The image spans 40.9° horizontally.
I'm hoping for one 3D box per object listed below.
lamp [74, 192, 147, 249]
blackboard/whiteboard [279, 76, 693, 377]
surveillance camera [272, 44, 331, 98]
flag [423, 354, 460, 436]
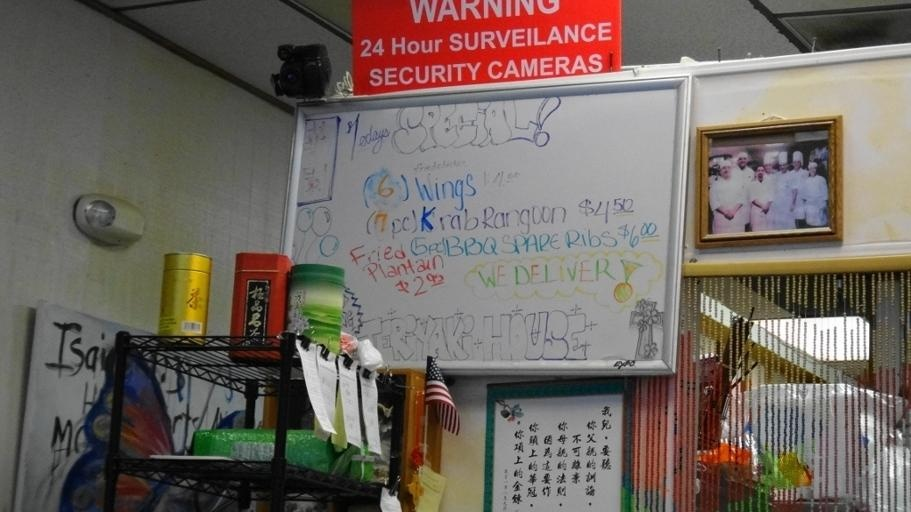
[{"bbox_3d":[-2.253,-0.230,7.963,0.097,0.325,0.453,-7,-13,42],"label":"lamp"},{"bbox_3d":[0.195,-0.189,6.661,2.010,1.617,0.081,0,-10,10],"label":"blackboard/whiteboard"},{"bbox_3d":[-0.875,-1.053,6.992,0.362,0.277,0.379,0,0,14],"label":"surveillance camera"},{"bbox_3d":[-0.084,0.740,6.577,0.208,0.405,0.089,4,-10,-13],"label":"flag"}]
